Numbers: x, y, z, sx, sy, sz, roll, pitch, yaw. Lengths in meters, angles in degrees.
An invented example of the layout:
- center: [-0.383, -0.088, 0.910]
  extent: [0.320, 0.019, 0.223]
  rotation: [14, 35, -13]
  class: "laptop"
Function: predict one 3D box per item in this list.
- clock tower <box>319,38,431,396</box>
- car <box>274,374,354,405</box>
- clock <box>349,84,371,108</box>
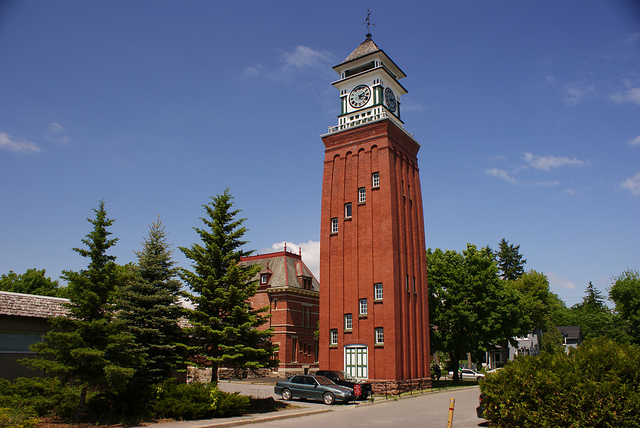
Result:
- center: [5.127, -0.451, 60.020]
  extent: [11.328, 33.883, 10.010]
  rotation: [0, -8, -3]
  class: "clock tower"
- center: [-0.429, 13.545, 46.630]
  extent: [5.586, 2.320, 0.976]
  rotation: [-7, -23, 18]
  class: "car"
- center: [4.354, -11.939, 62.392]
  extent: [2.335, 2.300, 2.342]
  rotation: [-2, -7, 22]
  class: "clock"
